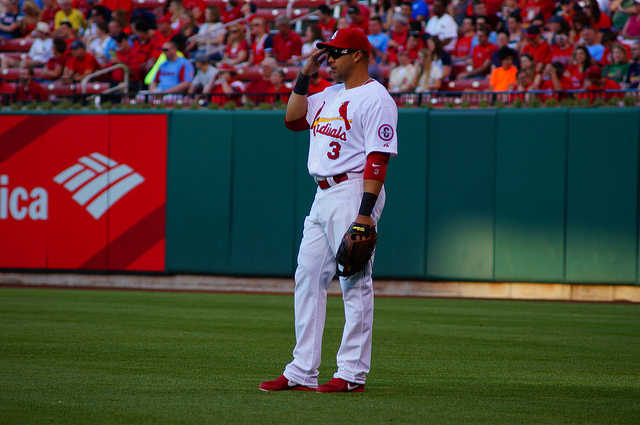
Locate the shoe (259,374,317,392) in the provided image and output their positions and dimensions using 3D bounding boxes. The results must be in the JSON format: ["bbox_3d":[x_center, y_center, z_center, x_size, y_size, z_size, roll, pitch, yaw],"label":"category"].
[{"bbox_3d":[-0.390,2.155,18.556,0.689,0.281,0.242,6,-8,0],"label":"shoe"}]

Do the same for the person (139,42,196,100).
[{"bbox_3d":[-2.389,-2.146,23.914,0.771,1.067,0.608,2,-10,-2],"label":"person"}]

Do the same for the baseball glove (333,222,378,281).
[{"bbox_3d":[0.419,0.485,18.262,0.447,0.664,0.224,21,11,-4],"label":"baseball glove"}]

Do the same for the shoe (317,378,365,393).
[{"bbox_3d":[0.250,2.193,18.439,0.566,0.228,0.202,5,-9,-5],"label":"shoe"}]

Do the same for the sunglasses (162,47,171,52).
[{"bbox_3d":[-2.417,-2.559,23.898,0.093,0.072,0.095,2,0,-20],"label":"sunglasses"}]

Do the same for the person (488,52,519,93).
[{"bbox_3d":[2.786,-2.076,23.149,0.485,0.778,0.456,7,4,37],"label":"person"}]
